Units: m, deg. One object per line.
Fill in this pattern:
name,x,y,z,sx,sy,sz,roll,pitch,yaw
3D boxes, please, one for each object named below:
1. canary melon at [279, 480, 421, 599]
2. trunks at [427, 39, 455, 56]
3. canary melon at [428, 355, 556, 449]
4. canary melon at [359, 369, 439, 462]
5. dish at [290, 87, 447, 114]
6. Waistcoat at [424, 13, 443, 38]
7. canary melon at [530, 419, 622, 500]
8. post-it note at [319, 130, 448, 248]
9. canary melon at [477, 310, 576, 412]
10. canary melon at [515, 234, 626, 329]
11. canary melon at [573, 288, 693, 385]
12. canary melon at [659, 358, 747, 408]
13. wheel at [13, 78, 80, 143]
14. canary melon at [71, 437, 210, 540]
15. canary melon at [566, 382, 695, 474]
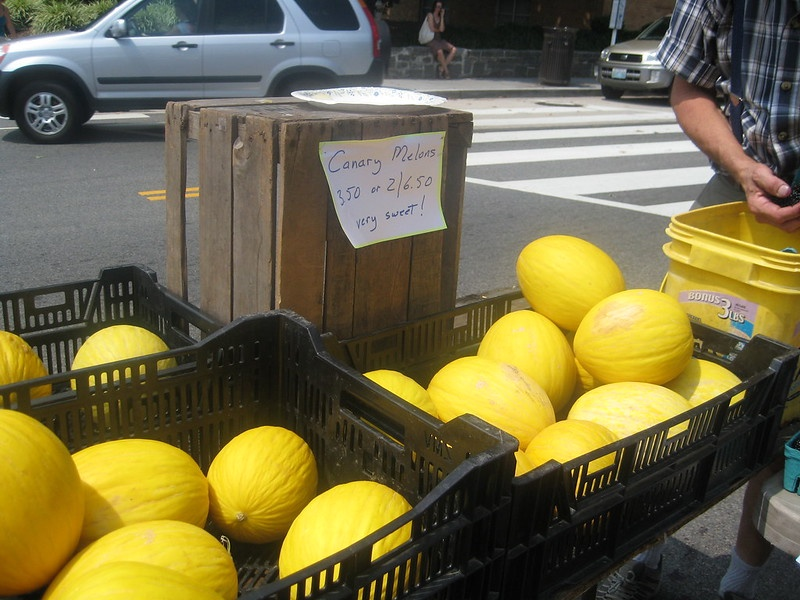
canary melon,-0.119,0.548,1.609,0.231,0.248,0.296,33,53,28
trunks,1.178,-7.159,19.021,0.633,0.459,0.538,-6,25,-16
canary melon,0.304,0.334,2.201,0.334,0.255,0.255,35,78,19
canary melon,-0.003,0.336,2.092,0.179,0.112,0.158,20,25,-33
dish,-0.096,-0.719,2.404,0.529,0.067,0.441,0,25,-5
Waistcoat,0.977,-7.643,18.744,0.749,0.639,0.390,-20,31,-40
canary melon,0.495,0.414,1.907,0.163,0.185,0.205,28,-7,0
post-it note,-0.065,-0.374,2.211,0.343,0.265,0.015,-24,33,-31
canary melon,0.509,0.247,2.430,0.296,0.302,0.406,-10,79,-8
canary melon,0.644,-0.062,2.632,0.278,0.254,0.405,-39,56,-16
canary melon,0.782,0.118,2.335,0.345,0.303,0.289,-15,43,-2
canary melon,1.019,0.275,2.261,0.195,0.175,0.181,24,63,9
wheel,-5.071,-2.780,9.694,0.639,0.700,0.232,-26,18,-23
canary melon,-0.657,0.464,1.730,0.275,0.216,0.234,16,46,-18
canary melon,0.730,0.376,2.158,0.249,0.157,0.207,-9,59,10
